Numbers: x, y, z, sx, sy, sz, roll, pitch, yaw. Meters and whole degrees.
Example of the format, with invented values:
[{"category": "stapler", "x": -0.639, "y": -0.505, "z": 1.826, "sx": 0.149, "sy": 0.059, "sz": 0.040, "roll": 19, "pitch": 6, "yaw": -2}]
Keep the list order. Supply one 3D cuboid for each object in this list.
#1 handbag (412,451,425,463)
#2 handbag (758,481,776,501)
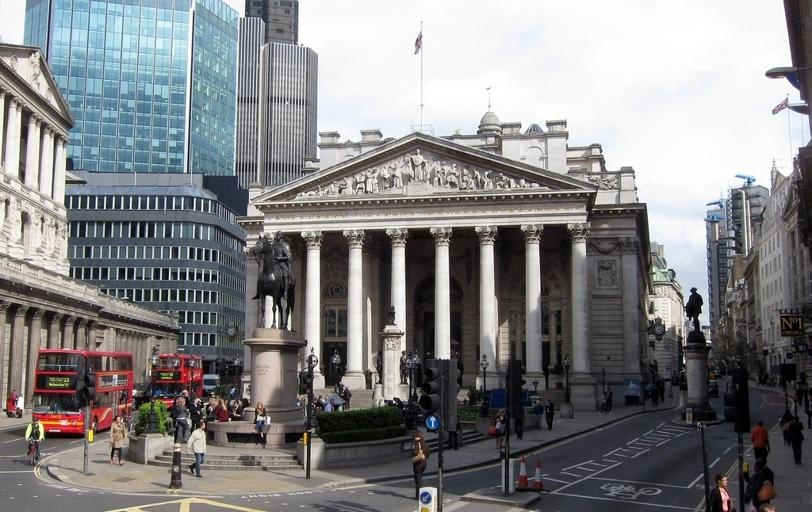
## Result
[{"category": "handbag", "x": 0.964, "y": 15.434, "z": 77.061, "sx": 0.929, "sy": 0.915, "sz": 0.600, "roll": -1, "pitch": -13, "yaw": -3}, {"category": "handbag", "x": 25.553, "y": 16.603, "z": 71.286, "sx": 1.384, "sy": 1.515, "sz": 0.748, "roll": 6, "pitch": -13, "yaw": -32}]
